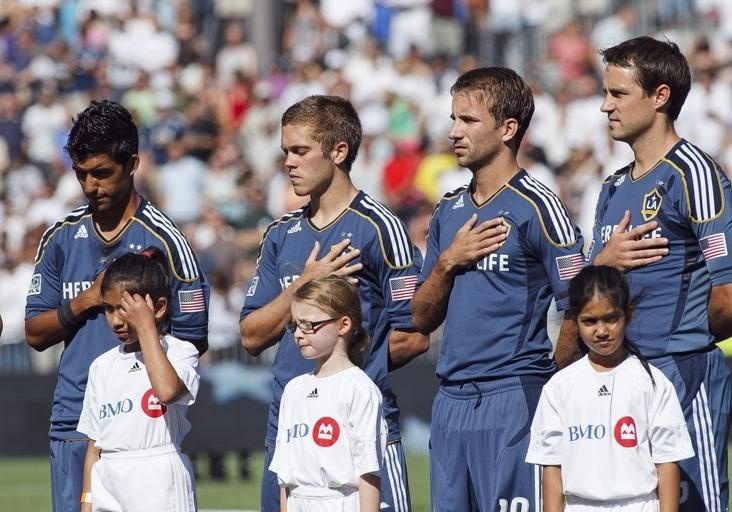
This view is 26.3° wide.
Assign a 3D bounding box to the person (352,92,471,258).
[{"bbox_3d":[0.524,-0.898,17.944,1.273,1.977,0.722,-6,-24,1],"label":"person"}]

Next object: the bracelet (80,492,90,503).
[{"bbox_3d":[-2.256,1.972,12.700,0.075,0.086,0.021,-1,-5,26],"label":"bracelet"}]
